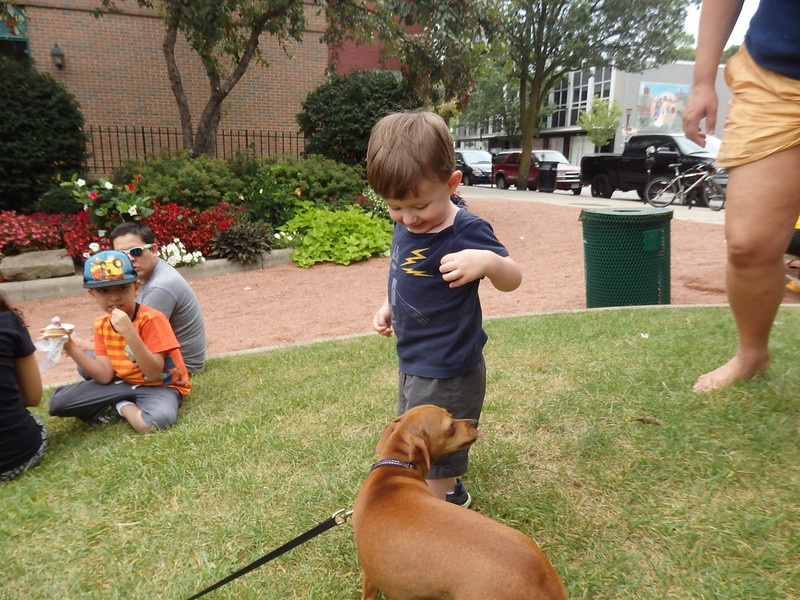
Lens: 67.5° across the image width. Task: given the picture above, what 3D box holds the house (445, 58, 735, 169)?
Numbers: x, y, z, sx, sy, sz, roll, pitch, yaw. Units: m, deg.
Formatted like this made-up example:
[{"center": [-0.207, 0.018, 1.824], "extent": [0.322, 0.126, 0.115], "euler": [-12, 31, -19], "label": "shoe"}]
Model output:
[{"center": [20.294, -19.110, 59.516], "extent": [6.880, 7.473, 22.969], "euler": [-2, 18, -4], "label": "house"}]

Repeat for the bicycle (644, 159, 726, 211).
[{"center": [7.102, -2.831, 14.848], "extent": [2.164, 1.065, 0.953], "euler": [0, 7, -6], "label": "bicycle"}]

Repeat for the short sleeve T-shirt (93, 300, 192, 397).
[{"center": [-1.931, 0.366, 4.445], "extent": [0.590, 0.569, 0.340], "euler": [-14, 26, 33], "label": "short sleeve T-shirt"}]

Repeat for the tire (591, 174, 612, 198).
[{"center": [6.588, -3.740, 19.480], "extent": [0.295, 0.785, 0.801], "euler": [-2, 10, -12], "label": "tire"}]

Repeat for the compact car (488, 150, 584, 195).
[{"center": [5.935, -5.204, 25.015], "extent": [2.038, 1.638, 4.063], "euler": [-12, 19, -29], "label": "compact car"}]

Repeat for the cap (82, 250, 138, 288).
[{"center": [-2.057, -0.218, 4.173], "extent": [0.252, 0.164, 0.320], "euler": [-3, 3, -12], "label": "cap"}]

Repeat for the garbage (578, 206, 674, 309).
[{"center": [2.510, -0.377, 6.616], "extent": [0.995, 1.319, 0.883], "euler": [-17, 19, -42], "label": "garbage"}]

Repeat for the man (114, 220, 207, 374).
[{"center": [-2.174, 0.016, 5.080], "extent": [0.902, 1.195, 0.738], "euler": [-15, 19, -32], "label": "man"}]

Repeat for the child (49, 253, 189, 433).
[{"center": [-2.017, 0.257, 4.475], "extent": [1.020, 1.220, 0.816], "euler": [1, 5, 17], "label": "child"}]

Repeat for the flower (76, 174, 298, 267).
[{"center": [-3.826, -1.281, 10.065], "extent": [2.672, 1.002, 1.899], "euler": [-5, 15, -43], "label": "flower"}]

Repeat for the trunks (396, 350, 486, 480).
[{"center": [0.273, 0.548, 3.403], "extent": [0.534, 0.882, 0.700], "euler": [3, -4, 7], "label": "trunks"}]
